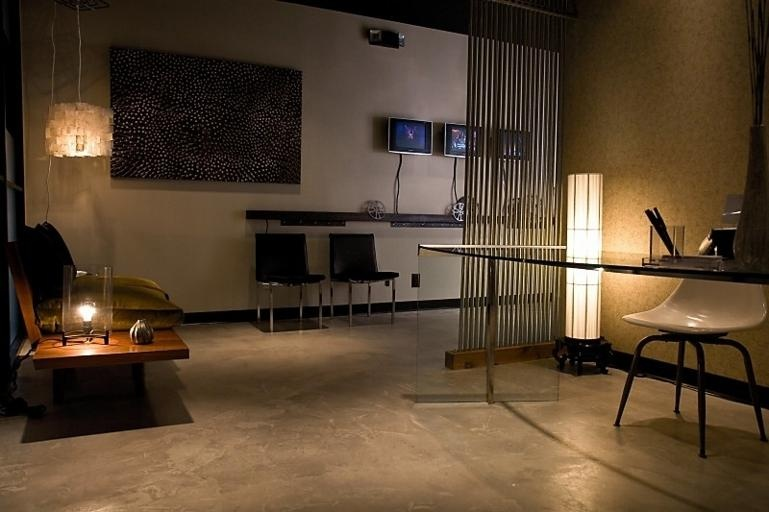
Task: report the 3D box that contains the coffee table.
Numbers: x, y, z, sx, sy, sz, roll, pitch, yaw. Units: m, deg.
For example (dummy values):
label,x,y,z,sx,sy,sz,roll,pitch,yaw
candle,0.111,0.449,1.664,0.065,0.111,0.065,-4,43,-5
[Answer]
label,x,y,z,sx,sy,sz,roll,pitch,yaw
coffee table,-1.911,0.781,3.836,0.853,0.500,1.046,-4,10,-29

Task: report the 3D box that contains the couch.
label,x,y,z,sx,sy,sz,roll,pitch,yaw
couch,-2.067,0.354,3.921,0.927,0.585,0.934,1,0,-25

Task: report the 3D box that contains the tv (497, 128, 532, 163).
label,x,y,z,sx,sy,sz,roll,pitch,yaw
tv,1.074,-0.925,4.593,0.310,0.232,0.027,1,-2,-24

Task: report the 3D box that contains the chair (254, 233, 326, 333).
label,x,y,z,sx,sy,sz,roll,pitch,yaw
chair,-1.057,0.250,5.931,0.967,1.002,0.963,-2,1,-41

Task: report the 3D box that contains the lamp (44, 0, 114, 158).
label,x,y,z,sx,sy,sz,roll,pitch,yaw
lamp,-2.925,-1.664,5.147,0.555,1.465,0.819,-5,11,-30

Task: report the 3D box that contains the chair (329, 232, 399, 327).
label,x,y,z,sx,sy,sz,roll,pitch,yaw
chair,-0.265,0.244,6.293,0.641,0.972,0.606,-2,5,-19
